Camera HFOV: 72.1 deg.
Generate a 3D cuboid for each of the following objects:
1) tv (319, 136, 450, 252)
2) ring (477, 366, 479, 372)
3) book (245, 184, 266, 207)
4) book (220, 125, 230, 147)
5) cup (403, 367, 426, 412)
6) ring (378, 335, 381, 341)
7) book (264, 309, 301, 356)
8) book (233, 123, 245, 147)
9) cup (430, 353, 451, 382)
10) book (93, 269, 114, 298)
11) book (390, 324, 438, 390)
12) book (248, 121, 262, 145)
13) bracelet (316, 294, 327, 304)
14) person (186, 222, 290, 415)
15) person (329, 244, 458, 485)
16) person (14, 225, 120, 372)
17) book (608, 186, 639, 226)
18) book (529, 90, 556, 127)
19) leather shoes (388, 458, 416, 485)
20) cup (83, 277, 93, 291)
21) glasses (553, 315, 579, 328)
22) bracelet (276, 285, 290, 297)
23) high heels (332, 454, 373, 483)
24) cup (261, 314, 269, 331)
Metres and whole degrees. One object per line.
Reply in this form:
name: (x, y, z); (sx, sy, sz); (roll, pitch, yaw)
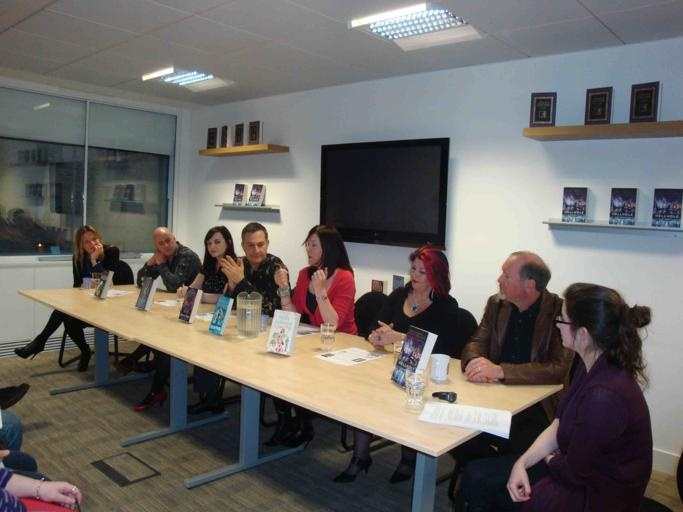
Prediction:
tv: (0.484, -0.607, 4.709); (1.164, 0.876, 0.089); (5, 5, 39)
ring: (0.769, 0.644, 2.645); (0.013, 0.025, 0.009); (-5, -14, 15)
book: (-1.111, -0.773, 6.055); (0.283, 0.298, 0.108); (7, 8, 35)
book: (-1.541, -1.564, 6.189); (0.069, 0.284, 0.219); (-4, 9, -41)
cup: (0.355, 0.636, 2.289); (0.140, 0.183, 0.146); (0, 3, 0)
ring: (0.246, 0.547, 3.079); (0.033, 0.035, 0.010); (-6, -5, 17)
book: (-0.380, 0.510, 3.030); (0.226, 0.301, 0.091); (2, -13, 43)
book: (-1.305, -1.556, 6.062); (0.068, 0.276, 0.284); (-3, 9, -38)
cup: (0.543, 0.634, 2.667); (0.134, 0.129, 0.109); (0, 0, -36)
book: (-2.196, 0.275, 4.341); (0.062, 0.252, 0.254); (20, -10, -31)
book: (0.388, 0.570, 2.559); (0.043, 0.336, 0.246); (13, 5, -35)
book: (-1.067, -1.525, 5.849); (0.293, 0.418, 0.047); (5, 6, 41)
bracelet: (-0.134, 0.318, 3.404); (0.073, 0.051, 0.070); (-5, -13, -14)
person: (-0.989, 0.462, 4.082); (0.591, 1.638, 0.919); (20, 9, 32)
person: (0.384, 0.756, 3.288); (0.774, 1.622, 0.622); (4, -1, -28)
person: (-2.973, 0.529, 5.187); (0.600, 1.604, 1.191); (5, 9, 26)
book: (2.137, -0.370, 3.564); (0.171, 0.283, 0.108); (5, 7, 27)
book: (1.637, -1.181, 3.826); (0.194, 0.296, 0.022); (4, -8, 16)
leather shoes: (0.421, 1.472, 3.226); (0.094, 0.115, 0.287); (-1, -5, 38)
cup: (-2.621, 0.293, 4.899); (0.119, 0.121, 0.098); (5, -8, -28)
glasses: (1.019, 0.306, 2.126); (0.082, 0.025, 0.082); (17, 4, 6)
bracelet: (-0.448, 0.280, 3.616); (0.096, 0.076, 0.076); (4, -1, -8)
high heels: (0.082, 1.441, 3.217); (0.328, 0.170, 0.113); (1, 2, -31)
cup: (-0.562, 0.497, 3.489); (0.087, 0.095, 0.089); (0, 5, 0)
